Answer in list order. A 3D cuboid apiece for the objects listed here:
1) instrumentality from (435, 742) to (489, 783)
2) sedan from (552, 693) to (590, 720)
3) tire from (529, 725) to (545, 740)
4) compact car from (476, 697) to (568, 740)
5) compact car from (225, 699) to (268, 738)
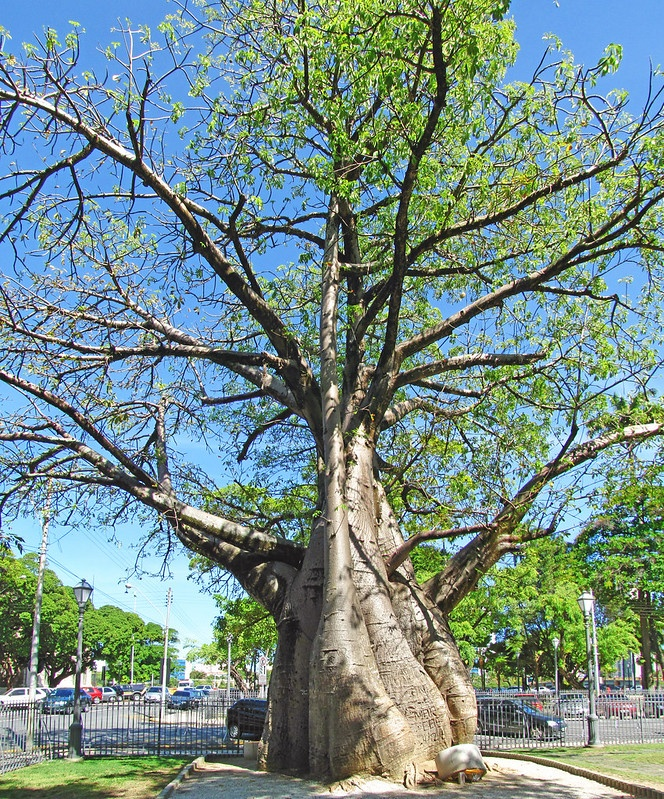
[{"bbox_3d":[1.646,4.767,9.411,0.416,0.464,0.850,-17,-25,40],"label":"instrumentality"},{"bbox_3d":[6.628,8.573,20.136,1.042,0.705,0.996,-1,-21,8],"label":"sedan"},{"bbox_3d":[5.100,8.351,18.068,0.278,0.134,0.280,5,-15,-30],"label":"tire"},{"bbox_3d":[4.665,8.035,18.216,2.615,0.904,0.829,7,-20,-21],"label":"compact car"},{"bbox_3d":[-2.166,8.097,18.227,0.926,0.866,1.672,2,-19,-8],"label":"compact car"}]
